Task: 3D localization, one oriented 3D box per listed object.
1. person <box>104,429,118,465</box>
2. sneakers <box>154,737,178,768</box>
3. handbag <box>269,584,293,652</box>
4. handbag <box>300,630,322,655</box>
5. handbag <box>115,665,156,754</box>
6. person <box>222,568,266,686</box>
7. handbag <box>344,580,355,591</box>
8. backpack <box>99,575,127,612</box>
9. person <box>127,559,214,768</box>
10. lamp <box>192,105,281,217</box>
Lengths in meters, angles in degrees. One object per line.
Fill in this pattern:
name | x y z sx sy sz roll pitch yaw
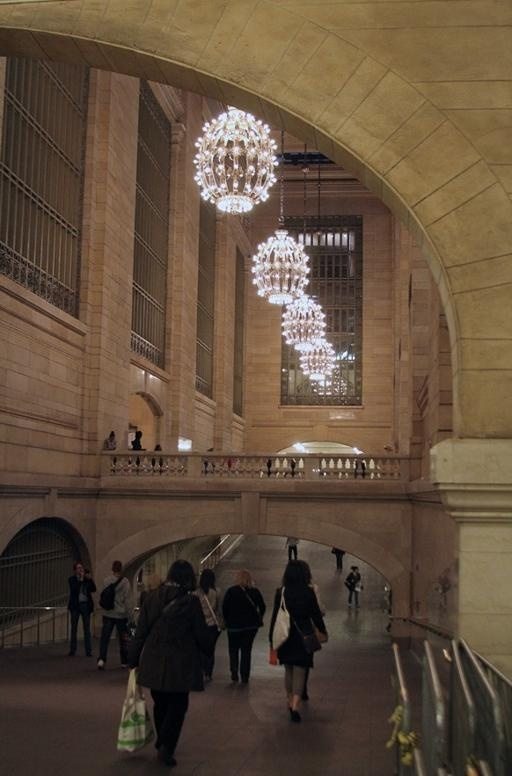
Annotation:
person | -3.474 1.474 15.715 0.280 0.833 0.608 0 -4 -14
sneakers | -0.603 2.489 4.498 0.075 0.180 0.223 0 -8 21
handbag | 0.233 2.170 6.081 0.170 0.568 0.267 -1 -4 0
handbag | 0.511 2.356 6.037 0.162 0.256 0.267 -2 -4 15
handbag | -0.814 2.194 4.455 0.221 0.511 0.208 0 -4 -11
person | -0.156 2.908 7.919 0.496 1.436 0.728 -1 -4 -4
handbag | 2.708 5.648 18.699 0.247 0.399 0.103 -1 36 16
backpack | -1.974 2.807 8.878 0.372 0.488 0.211 -4 -5 29
person | -0.612 1.900 4.669 0.442 1.438 0.496 4 0 4
lamp | -0.447 -4.461 12.256 1.290 2.561 1.820 -3 -5 24
